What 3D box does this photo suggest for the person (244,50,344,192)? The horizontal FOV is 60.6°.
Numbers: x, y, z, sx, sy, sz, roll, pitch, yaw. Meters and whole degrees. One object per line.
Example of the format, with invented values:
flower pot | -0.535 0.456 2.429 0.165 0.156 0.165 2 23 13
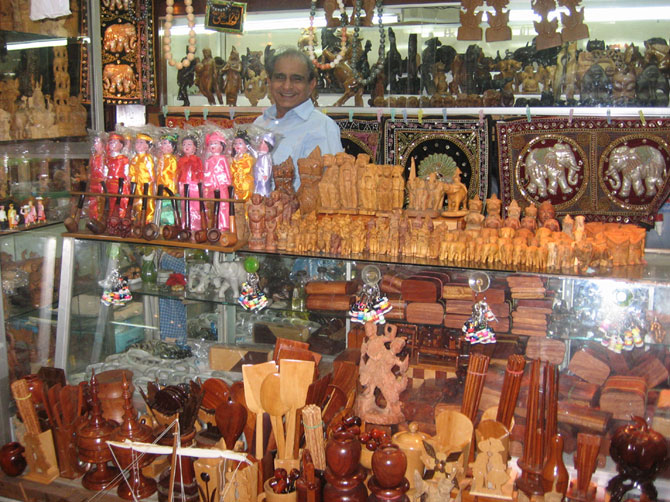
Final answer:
person | -0.250 -0.985 4.141 0.649 1.030 1.805 -1 7 -8
